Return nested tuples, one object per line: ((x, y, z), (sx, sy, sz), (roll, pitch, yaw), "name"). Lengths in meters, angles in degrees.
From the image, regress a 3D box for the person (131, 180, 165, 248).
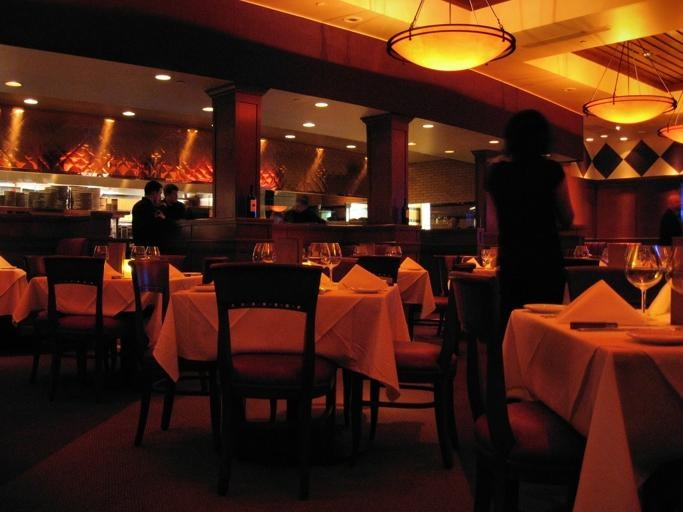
((-2.572, -0.576, 7.707), (0.293, 0.879, 0.554), (2, 4, 25), "person")

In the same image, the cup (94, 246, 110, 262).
((-1.738, -0.019, 4.166), (0.104, 0.108, 0.109), (1, -3, 0), "cup")

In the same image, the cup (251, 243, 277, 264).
((-0.433, -0.017, 3.198), (0.106, 0.112, 0.104), (0, 3, 0), "cup")

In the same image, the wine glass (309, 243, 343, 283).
((-0.083, 0.033, 3.349), (0.205, 0.315, 0.199), (2, 3, 24), "wine glass")

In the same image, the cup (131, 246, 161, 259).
((-1.404, -0.026, 4.084), (0.154, 0.063, 0.104), (1, -1, 8), "cup")

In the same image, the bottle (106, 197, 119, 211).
((-3.721, -0.853, 9.326), (0.112, 0.189, 0.260), (2, 4, 25), "bottle")

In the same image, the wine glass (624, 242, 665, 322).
((1.142, 0.089, 2.196), (0.143, 0.270, 0.183), (0, 4, 6), "wine glass")

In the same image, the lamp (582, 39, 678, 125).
((4.467, -2.573, 8.927), (1.174, 1.111, 2.294), (2, 4, 27), "lamp")
